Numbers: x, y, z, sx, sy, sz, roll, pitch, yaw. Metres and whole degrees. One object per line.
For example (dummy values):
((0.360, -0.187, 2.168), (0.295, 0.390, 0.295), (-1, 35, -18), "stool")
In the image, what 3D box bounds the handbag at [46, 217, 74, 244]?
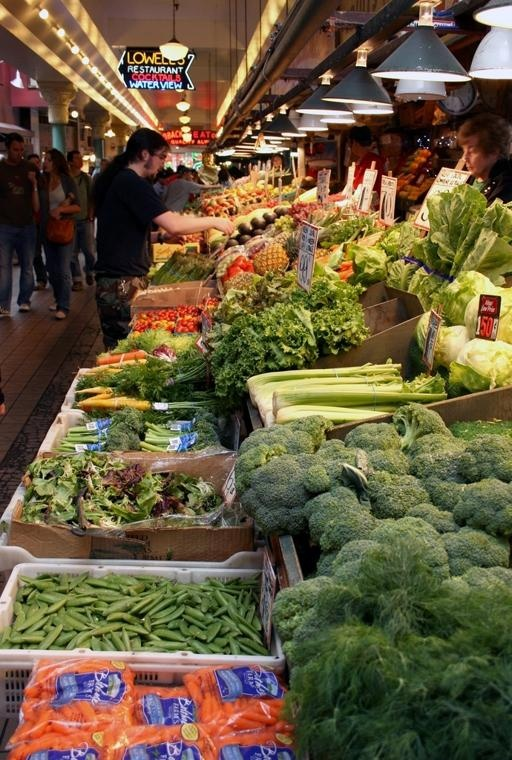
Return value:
((-3.616, -2.800, 9.729), (0.503, 0.494, 0.210), (2, 15, 0), "handbag")

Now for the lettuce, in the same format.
((0.178, -0.265, 2.896), (0.811, 0.538, 0.718), (-15, 38, 12), "lettuce")

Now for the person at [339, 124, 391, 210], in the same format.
((1.499, -2.951, 7.680), (0.396, 1.325, 0.629), (14, 43, 10), "person")
